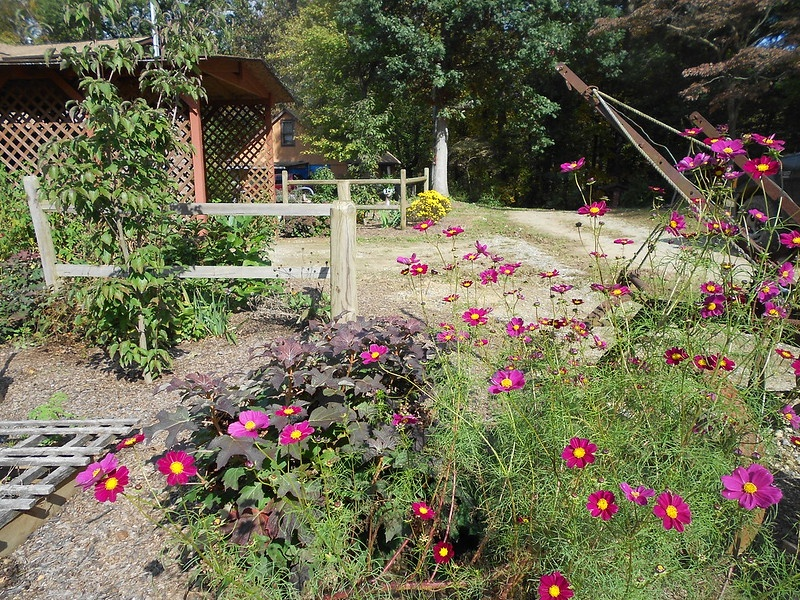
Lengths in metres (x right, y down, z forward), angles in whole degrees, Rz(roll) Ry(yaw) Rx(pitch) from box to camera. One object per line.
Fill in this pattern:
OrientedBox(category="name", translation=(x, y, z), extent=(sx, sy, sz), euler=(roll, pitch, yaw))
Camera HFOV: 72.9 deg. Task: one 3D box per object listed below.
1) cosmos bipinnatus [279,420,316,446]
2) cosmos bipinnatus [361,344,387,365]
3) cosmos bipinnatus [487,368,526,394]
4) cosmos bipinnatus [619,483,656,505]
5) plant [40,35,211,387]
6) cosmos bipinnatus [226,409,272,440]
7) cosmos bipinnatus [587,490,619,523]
OrientedBox(category="cosmos bipinnatus", translation=(-0.433, 0.555, 2.301), extent=(0.117, 0.044, 0.119), euler=(-6, 18, 16))
OrientedBox(category="cosmos bipinnatus", translation=(-0.127, 0.300, 2.795), extent=(0.111, 0.042, 0.112), euler=(-11, 28, 13))
OrientedBox(category="cosmos bipinnatus", translation=(0.447, 0.357, 2.284), extent=(0.132, 0.050, 0.122), euler=(-4, 35, 18))
OrientedBox(category="cosmos bipinnatus", translation=(0.908, 0.749, 2.075), extent=(0.122, 0.037, 0.122), euler=(-4, 9, -38))
OrientedBox(category="plant", translation=(-2.476, -0.922, 5.089), extent=(1.174, 2.698, 2.726), euler=(-6, 17, -21))
OrientedBox(category="cosmos bipinnatus", translation=(-0.649, 0.583, 2.378), extent=(0.147, 0.078, 0.154), euler=(5, 32, 21))
OrientedBox(category="cosmos bipinnatus", translation=(0.790, 0.815, 2.119), extent=(0.106, 0.144, 0.096), euler=(7, 17, 19))
